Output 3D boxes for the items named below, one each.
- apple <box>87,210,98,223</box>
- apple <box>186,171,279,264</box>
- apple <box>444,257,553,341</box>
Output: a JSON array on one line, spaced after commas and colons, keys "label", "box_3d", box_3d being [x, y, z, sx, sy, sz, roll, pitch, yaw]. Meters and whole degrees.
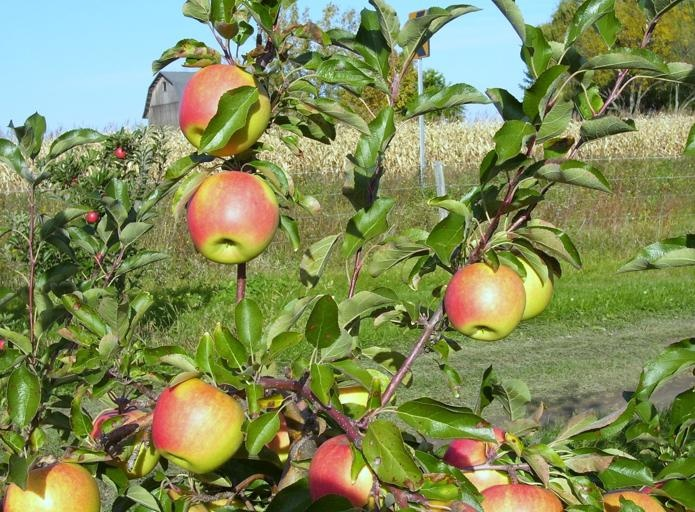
[{"label": "apple", "box_3d": [-1.760, -0.268, 5.167, 0.081, 0.101, 0.313, -1, 7, -19]}, {"label": "apple", "box_3d": [-0.393, -0.116, 2.589, 0.285, 0.330, 0.319, 3, -13, -24]}, {"label": "apple", "box_3d": [0.514, 0.131, 2.550, 0.243, 0.269, 0.337, -11, 19, 48]}]
